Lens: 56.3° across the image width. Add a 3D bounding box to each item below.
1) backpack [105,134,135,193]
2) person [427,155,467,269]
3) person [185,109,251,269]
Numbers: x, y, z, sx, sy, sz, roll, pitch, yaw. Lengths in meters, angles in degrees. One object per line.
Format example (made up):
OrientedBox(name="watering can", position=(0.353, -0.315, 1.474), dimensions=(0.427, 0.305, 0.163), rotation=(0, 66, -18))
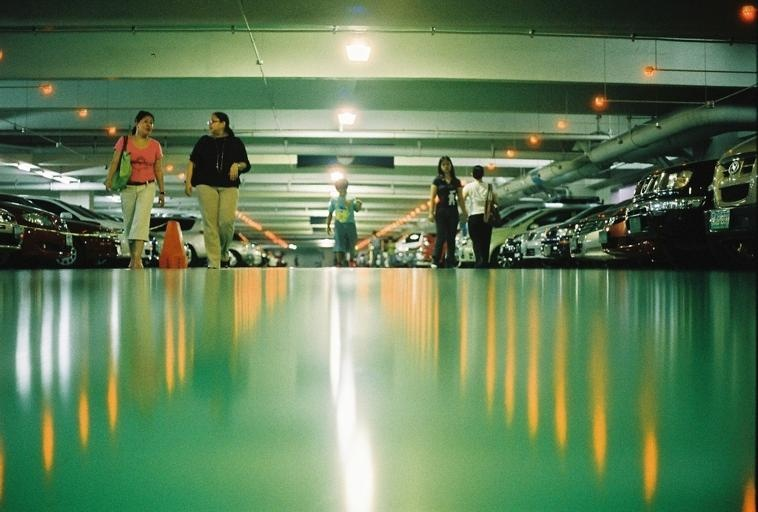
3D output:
OrientedBox(name="backpack", position=(-2.319, -0.822, 6.394), dimensions=(0.207, 0.501, 0.266), rotation=(-6, 15, -21))
OrientedBox(name="person", position=(0.797, -0.467, 8.263), dimensions=(0.409, 1.371, 0.630), rotation=(1, 14, 6))
OrientedBox(name="person", position=(-1.459, -0.526, 6.537), dimensions=(0.593, 1.556, 1.069), rotation=(-4, 15, -14))
